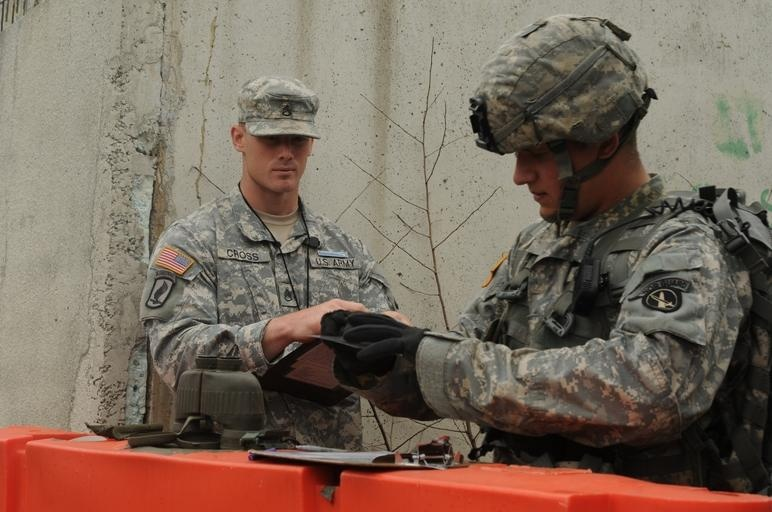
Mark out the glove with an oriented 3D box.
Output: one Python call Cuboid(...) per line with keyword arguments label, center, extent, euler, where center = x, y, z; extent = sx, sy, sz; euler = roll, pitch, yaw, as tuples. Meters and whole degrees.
Cuboid(label="glove", center=(-0.036, 0.396, 5.448), extent=(0.399, 0.329, 0.144), euler=(-3, -11, 17))
